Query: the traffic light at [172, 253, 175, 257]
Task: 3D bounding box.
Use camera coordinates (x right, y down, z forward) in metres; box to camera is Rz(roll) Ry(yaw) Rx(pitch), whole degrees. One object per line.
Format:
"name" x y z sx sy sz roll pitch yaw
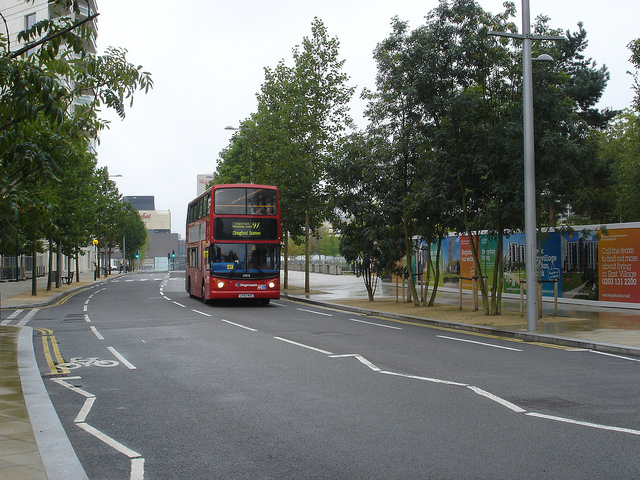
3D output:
"traffic light" -31.455 3.407 130.557 0.897 1.118 1.196 2 -3 -6

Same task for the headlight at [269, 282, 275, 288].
"headlight" -2.037 1.942 25.880 0.212 0.217 0.055 0 1 -4

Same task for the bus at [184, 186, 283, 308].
"bus" -4.138 0.435 27.249 3.149 5.156 5.564 0 0 -27
